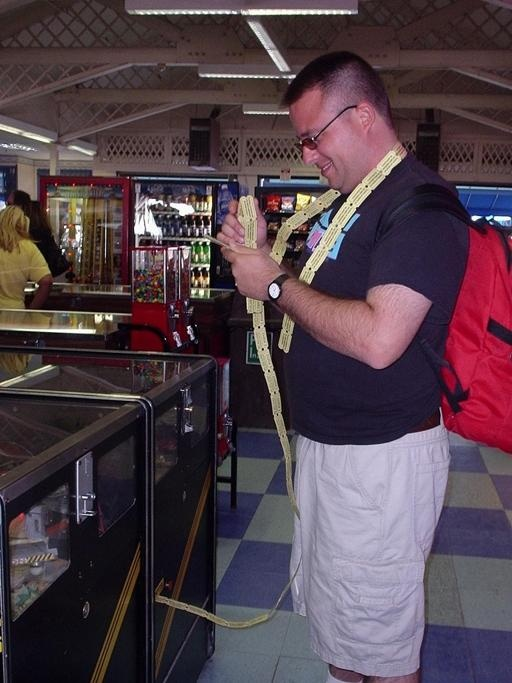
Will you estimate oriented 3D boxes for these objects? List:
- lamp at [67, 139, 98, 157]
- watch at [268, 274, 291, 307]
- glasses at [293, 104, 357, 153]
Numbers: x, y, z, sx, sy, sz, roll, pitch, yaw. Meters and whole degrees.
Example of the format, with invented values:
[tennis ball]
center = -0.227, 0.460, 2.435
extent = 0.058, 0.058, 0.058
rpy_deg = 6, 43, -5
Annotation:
[lamp]
center = -3.615, -3.950, 11.487
extent = 0.523, 0.127, 0.570
rpy_deg = 8, 8, 40
[watch]
center = 0.042, -0.108, 1.151
extent = 0.026, 0.062, 0.048
rpy_deg = -6, 10, -42
[glasses]
center = 0.150, -0.454, 1.179
extent = 0.100, 0.027, 0.094
rpy_deg = -39, 12, -6
